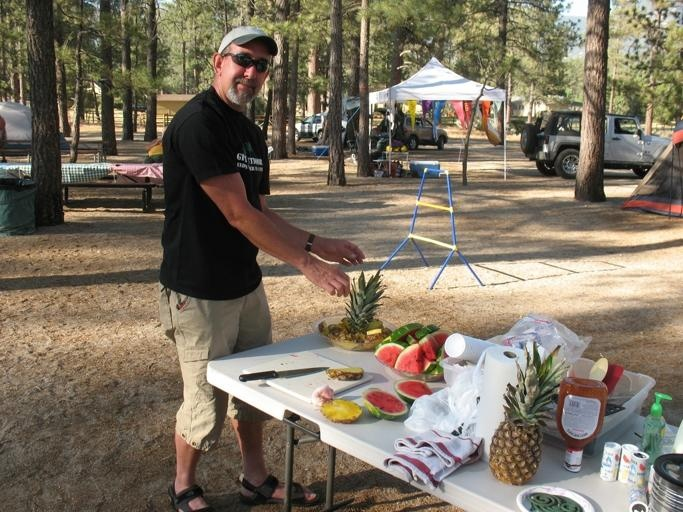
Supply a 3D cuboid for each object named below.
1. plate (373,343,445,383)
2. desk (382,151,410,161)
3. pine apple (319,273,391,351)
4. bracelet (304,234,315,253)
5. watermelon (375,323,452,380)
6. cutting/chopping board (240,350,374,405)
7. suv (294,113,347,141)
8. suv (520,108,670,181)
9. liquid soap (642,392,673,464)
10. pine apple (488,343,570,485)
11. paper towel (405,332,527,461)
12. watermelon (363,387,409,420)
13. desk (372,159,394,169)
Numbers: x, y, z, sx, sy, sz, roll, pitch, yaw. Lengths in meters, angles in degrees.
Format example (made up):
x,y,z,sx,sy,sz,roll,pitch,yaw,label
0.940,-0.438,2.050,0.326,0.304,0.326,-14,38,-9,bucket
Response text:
x,y,z,sx,sy,sz,roll,pitch,yaw,label
0.368,0.541,3.119,0.316,0.178,0.269,11,16,39,plate
2.174,-3.935,23.426,1.106,0.587,0.651,1,9,0,desk
0.104,0.355,3.466,0.328,0.522,0.319,-6,15,-38,pine apple
-0.184,-0.075,3.522,0.024,0.090,0.084,12,-8,-16,bracelet
0.400,0.490,3.155,0.376,0.167,0.480,18,22,40,watermelon
-0.190,0.508,3.084,0.583,0.146,0.564,20,19,41,cutting/chopping board
-1.767,-7.201,33.606,3.760,1.580,1.790,18,26,37,suv
8.248,-3.751,19.575,4.155,2.048,2.395,-3,17,-3,suv
1.372,0.747,2.615,0.135,0.390,0.148,8,10,30,liquid soap
0.787,0.613,2.449,0.225,0.565,0.371,9,16,34,pine apple
0.582,0.546,2.603,0.384,0.240,0.511,4,15,15,paper towel
0.204,0.687,2.750,0.135,0.049,0.127,14,19,-14,watermelon
1.472,-3.167,20.488,0.400,0.346,0.983,-11,19,-40,desk
